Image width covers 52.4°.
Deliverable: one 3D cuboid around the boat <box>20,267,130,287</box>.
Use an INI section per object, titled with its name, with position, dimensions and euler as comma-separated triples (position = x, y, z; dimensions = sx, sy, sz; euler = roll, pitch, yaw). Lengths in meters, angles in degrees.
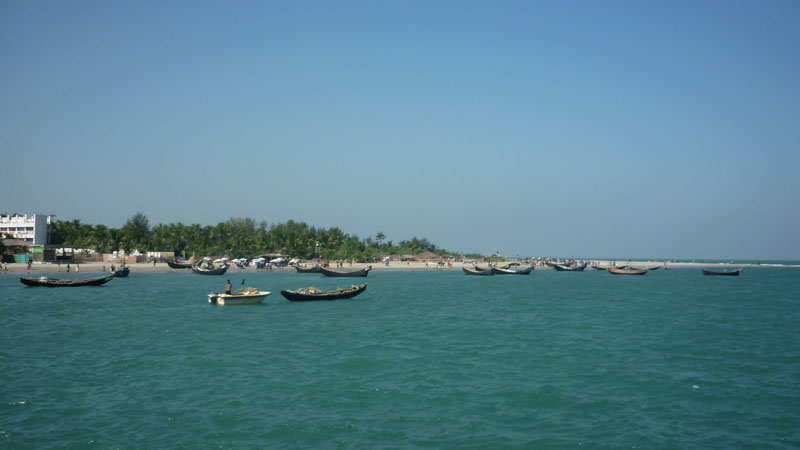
[boat]
position = -55.259, 9.561, 133.437
dimensions = 7.568, 2.759, 11.881
euler = 7, 10, 38
